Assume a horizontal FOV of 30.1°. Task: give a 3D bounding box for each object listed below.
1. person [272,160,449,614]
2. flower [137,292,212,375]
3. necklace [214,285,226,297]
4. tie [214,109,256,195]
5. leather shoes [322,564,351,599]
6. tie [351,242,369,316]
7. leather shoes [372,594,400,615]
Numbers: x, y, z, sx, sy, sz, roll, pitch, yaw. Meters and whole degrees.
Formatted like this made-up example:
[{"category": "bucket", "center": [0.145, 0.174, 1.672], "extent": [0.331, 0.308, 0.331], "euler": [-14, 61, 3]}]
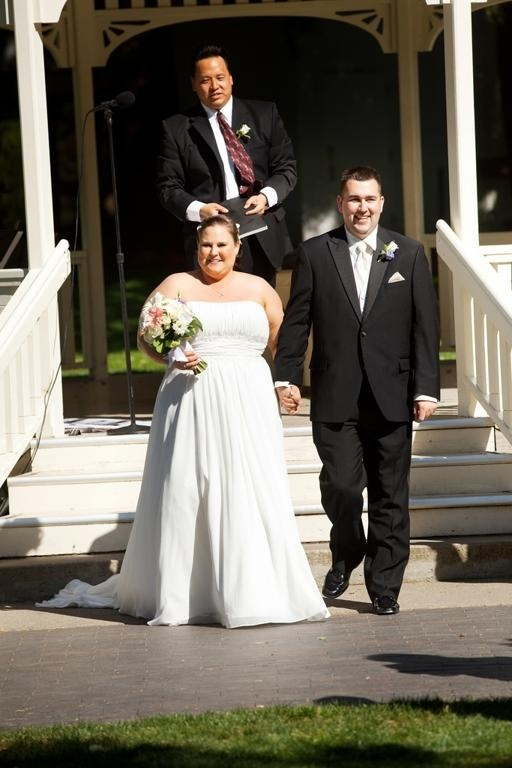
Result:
[{"category": "person", "center": [0.442, 0.041, 4.158], "extent": [0.715, 1.370, 0.403], "euler": [-3, -2, 10]}, {"category": "flower", "center": [-0.373, -0.248, 4.152], "extent": [0.277, 0.314, 0.287], "euler": [-3, -2, -6]}, {"category": "necklace", "center": [-0.167, -0.418, 4.312], "extent": [0.043, 0.054, 0.004], "euler": [-13, -9, -2]}, {"category": "tie", "center": [-0.107, -1.264, 5.266], "extent": [0.165, 0.507, 0.054], "euler": [-25, -14, 6]}, {"category": "leather shoes", "center": [0.383, 0.887, 4.428], "extent": [0.080, 0.082, 0.212], "euler": [21, 39, 9]}, {"category": "tie", "center": [0.452, -0.468, 4.131], "extent": [0.099, 0.277, 0.070], "euler": [0, 1, 8]}, {"category": "leather shoes", "center": [0.564, 0.955, 4.066], "extent": [0.055, 0.054, 0.133], "euler": [-1, -7, -5]}]
